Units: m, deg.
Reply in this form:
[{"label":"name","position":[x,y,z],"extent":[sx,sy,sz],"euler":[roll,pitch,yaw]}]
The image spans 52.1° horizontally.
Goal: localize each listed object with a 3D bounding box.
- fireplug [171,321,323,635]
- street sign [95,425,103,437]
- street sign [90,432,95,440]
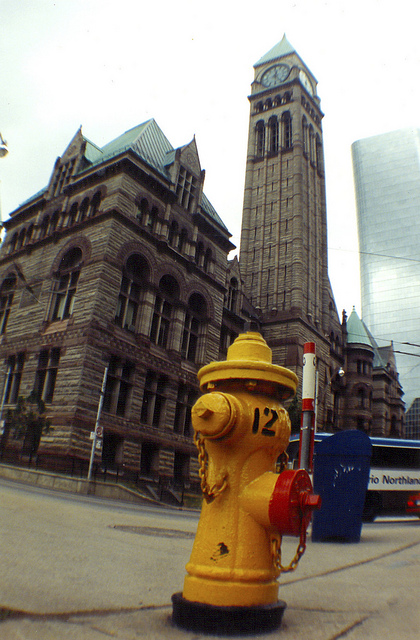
[{"label":"fireplug","position":[0.226,0.919,2.735],"extent":[0.925,1.787,0.792],"euler":[7,-12,-29]},{"label":"street sign","position":[-5.867,5.842,22.939],"extent":[0.306,0.445,0.148],"euler":[5,-12,-6]},{"label":"street sign","position":[-6.337,6.152,23.253],"extent":[0.200,0.372,0.932],"euler":[12,-19,-16]}]
